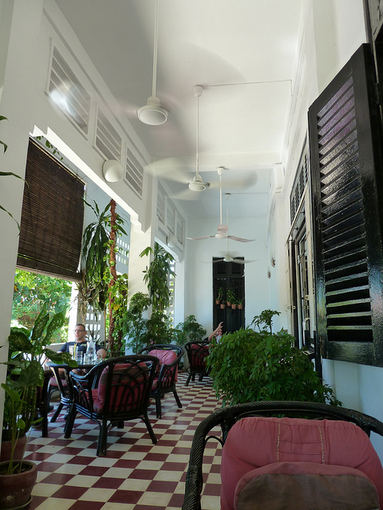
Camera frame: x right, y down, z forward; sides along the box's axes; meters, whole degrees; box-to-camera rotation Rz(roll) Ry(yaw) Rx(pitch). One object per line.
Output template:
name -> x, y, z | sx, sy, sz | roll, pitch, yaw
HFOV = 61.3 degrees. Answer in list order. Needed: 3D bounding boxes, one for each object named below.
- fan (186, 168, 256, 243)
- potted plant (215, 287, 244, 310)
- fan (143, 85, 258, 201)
fan -> 0.773, -0.842, 7.919 | 1.705, 1.978, 1.468 | 9, -15, -44
potted plant -> 1.146, 1.435, 10.137 | 0.756, 0.590, 0.667 | 4, -17, -2
fan -> 0.158, -1.737, 7.045 | 1.504, 1.630, 1.595 | -5, -22, 23
